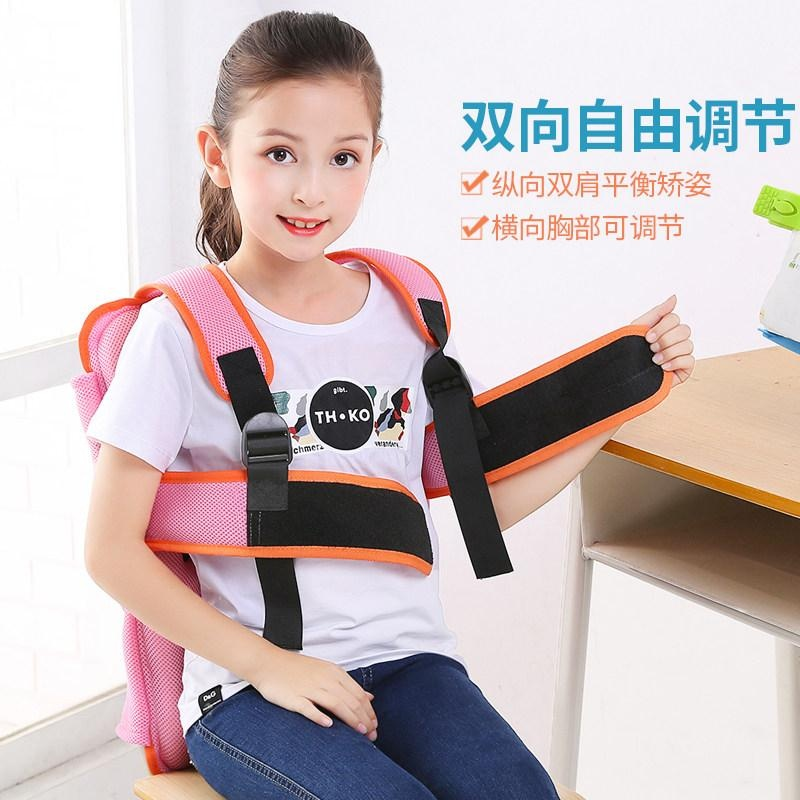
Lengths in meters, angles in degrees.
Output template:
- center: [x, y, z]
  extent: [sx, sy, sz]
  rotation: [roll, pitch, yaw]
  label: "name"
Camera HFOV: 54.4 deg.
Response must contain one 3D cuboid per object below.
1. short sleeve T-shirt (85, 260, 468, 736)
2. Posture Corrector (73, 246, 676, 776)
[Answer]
- center: [-0.089, 0.046, 0.786]
  extent: [0.406, 0.370, 0.210]
  rotation: [-13, 18, -38]
  label: "short sleeve T-shirt"
- center: [0.012, 0.101, 0.837]
  extent: [0.591, 0.500, 0.439]
  rotation: [-6, 12, -11]
  label: "Posture Corrector"
